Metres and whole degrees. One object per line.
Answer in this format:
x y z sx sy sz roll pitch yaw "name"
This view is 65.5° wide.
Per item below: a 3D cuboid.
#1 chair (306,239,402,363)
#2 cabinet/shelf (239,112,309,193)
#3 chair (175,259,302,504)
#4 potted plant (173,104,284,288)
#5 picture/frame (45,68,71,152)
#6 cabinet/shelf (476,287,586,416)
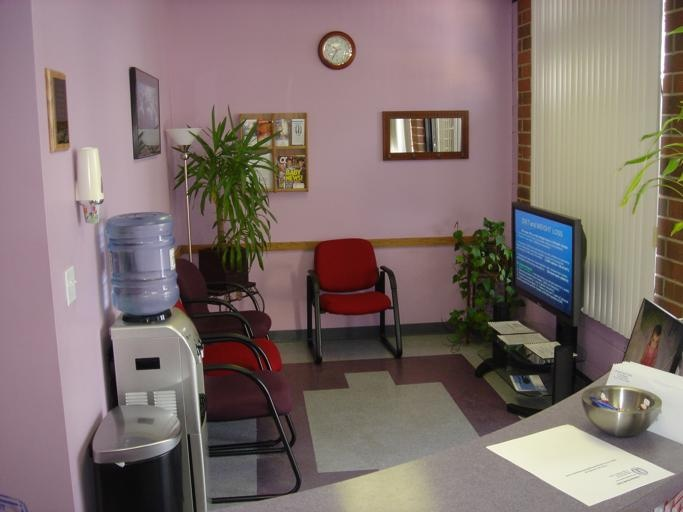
-0.014 0.370 5.342 0.917 1.302 1.073 -1 6 -10 "chair"
-0.645 -1.004 4.967 0.742 1.021 0.282 -1 -1 -7 "cabinet/shelf"
-0.706 0.827 3.537 0.473 0.727 1.251 -1 9 -7 "chair"
-1.257 -0.651 5.307 1.276 2.108 1.233 -1 9 -4 "potted plant"
-1.261 -0.642 2.362 0.052 0.347 0.286 -5 13 -16 "picture/frame"
1.378 0.605 4.076 0.682 1.056 0.974 -1 8 -7 "cabinet/shelf"
